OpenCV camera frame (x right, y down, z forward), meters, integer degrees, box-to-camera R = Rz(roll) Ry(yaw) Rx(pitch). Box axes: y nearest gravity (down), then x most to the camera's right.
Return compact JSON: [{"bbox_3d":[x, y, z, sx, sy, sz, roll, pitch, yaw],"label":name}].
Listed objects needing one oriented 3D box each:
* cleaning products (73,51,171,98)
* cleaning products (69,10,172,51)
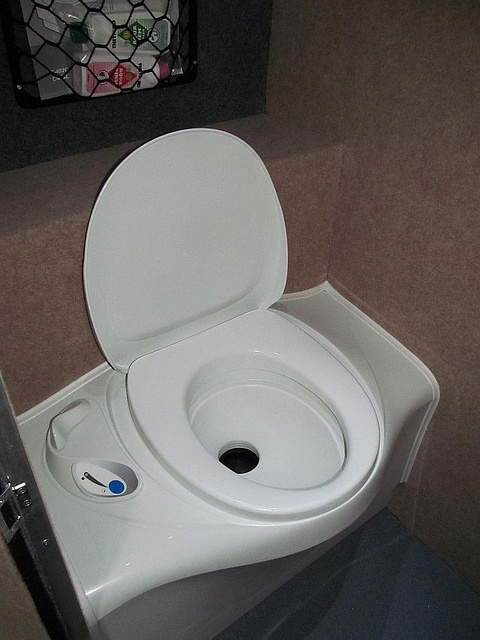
[{"bbox_3d":[-0.196,-0.397,0.846,0.152,0.069,0.032,-20,35,-33],"label":"cleaning products"},{"bbox_3d":[-0.183,-0.451,0.819,0.043,0.062,0.180,22,36,34],"label":"cleaning products"}]
